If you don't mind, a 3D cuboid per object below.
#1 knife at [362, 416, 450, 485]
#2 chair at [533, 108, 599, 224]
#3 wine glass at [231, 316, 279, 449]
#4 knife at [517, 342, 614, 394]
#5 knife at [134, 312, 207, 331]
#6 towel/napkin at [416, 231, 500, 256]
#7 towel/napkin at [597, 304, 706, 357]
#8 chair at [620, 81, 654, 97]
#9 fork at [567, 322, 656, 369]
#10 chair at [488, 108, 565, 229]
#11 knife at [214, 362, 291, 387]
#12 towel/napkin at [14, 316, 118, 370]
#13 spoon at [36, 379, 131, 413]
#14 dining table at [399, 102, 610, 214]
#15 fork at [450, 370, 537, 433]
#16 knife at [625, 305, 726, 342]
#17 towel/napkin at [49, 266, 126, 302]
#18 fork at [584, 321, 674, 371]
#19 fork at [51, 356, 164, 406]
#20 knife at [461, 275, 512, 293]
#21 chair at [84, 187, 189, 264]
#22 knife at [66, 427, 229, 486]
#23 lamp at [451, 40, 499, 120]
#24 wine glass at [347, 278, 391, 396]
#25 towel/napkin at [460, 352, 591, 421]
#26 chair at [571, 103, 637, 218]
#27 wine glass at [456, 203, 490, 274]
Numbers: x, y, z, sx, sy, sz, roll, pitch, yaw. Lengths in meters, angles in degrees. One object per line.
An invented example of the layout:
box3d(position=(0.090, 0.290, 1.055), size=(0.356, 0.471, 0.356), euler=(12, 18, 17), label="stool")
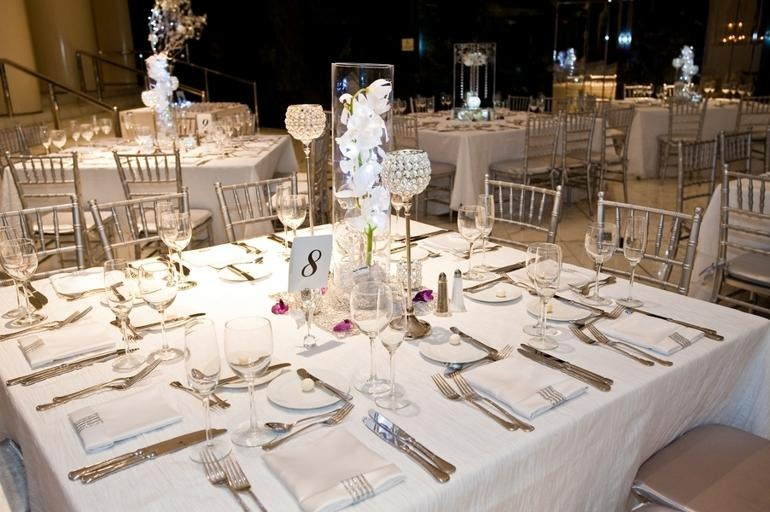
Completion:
box3d(position=(0.034, 0.509, 1.330), size=(0.078, 0.021, 0.364), euler=(-22, 31, -33), label="knife")
box3d(position=(2.170, -1.154, 6.158), size=(0.816, 1.227, 0.821), euler=(-8, 11, -3), label="chair")
box3d(position=(-0.375, 0.320, 1.386), size=(0.143, 0.326, 0.254), euler=(-8, 19, -10), label="wine glass")
box3d(position=(0.537, 0.362, 1.659), size=(0.416, 0.040, 0.088), euler=(18, 27, 42), label="knife")
box3d(position=(-0.779, 0.241, 1.793), size=(0.267, 0.015, 0.047), euler=(-6, 25, -36), label="knife")
box3d(position=(0.317, -0.061, 2.537), size=(0.190, 0.031, 0.201), euler=(-10, 21, -32), label="towel/napkin")
box3d(position=(0.950, 0.273, 1.763), size=(0.173, 0.028, 0.182), euler=(-12, 20, -31), label="towel/napkin")
box3d(position=(4.723, -3.144, 9.306), size=(0.531, 0.232, 0.276), euler=(0, 27, 1), label="chair")
box3d(position=(0.780, 0.316, 1.706), size=(0.031, 0.032, 0.211), euler=(-24, 39, -32), label="fork")
box3d(position=(1.603, -1.041, 5.825), size=(0.612, 1.126, 0.676), euler=(-10, 22, -22), label="chair")
box3d(position=(-0.420, 0.379, 1.571), size=(0.139, 0.025, 0.099), euler=(-13, 9, -32), label="knife")
box3d(position=(-1.109, 0.305, 1.738), size=(0.190, 0.046, 0.190), euler=(-14, 30, -23), label="towel/napkin")
box3d(position=(-0.899, 0.418, 1.529), size=(0.277, 0.032, 0.089), euler=(-9, 10, -32), label="spoon")
box3d(position=(1.190, -1.322, 6.075), size=(1.457, 0.897, 1.727), euler=(-13, 23, -34), label="dining table")
box3d(position=(0.304, 0.439, 1.456), size=(0.078, 0.046, 0.301), euler=(-17, 32, -30), label="fork")
box3d(position=(1.061, 0.254, 1.822), size=(0.040, 0.015, 0.300), euler=(-10, 17, -38), label="knife")
box3d(position=(-1.274, 0.156, 2.173), size=(0.258, 0.056, 0.258), euler=(-19, 32, -32), label="towel/napkin")
box3d(position=(0.834, 0.317, 1.698), size=(0.035, 0.038, 0.243), euler=(-12, 27, -28), label="fork")
box3d(position=(-0.877, 0.404, 1.571), size=(0.254, 0.039, 0.045), euler=(-15, 25, -30), label="fork")
box3d(position=(0.428, 0.125, 2.127), size=(0.185, 0.021, 0.032), euler=(-12, 47, -36), label="knife")
box3d(position=(-1.654, -0.207, 3.301), size=(0.455, 0.777, 0.472), euler=(-9, 33, -26), label="chair")
box3d(position=(-0.625, 0.533, 1.297), size=(0.274, 0.022, 0.064), euler=(-13, 21, -36), label="knife")
box3d(position=(1.393, -2.634, 7.519), size=(0.693, 1.101, 0.649), euler=(14, 26, 42), label="lamp")
box3d(position=(-0.050, 0.228, 1.533), size=(0.133, 0.353, 0.256), euler=(-8, 19, -10), label="wine glass")
box3d(position=(0.435, 0.398, 1.500), size=(0.191, 0.037, 0.200), euler=(-12, 20, -36), label="towel/napkin")
box3d(position=(2.731, -1.266, 6.447), size=(0.851, 1.111, 0.812), euler=(6, 14, -36), label="chair")
box3d(position=(0.379, -0.055, 2.205), size=(0.168, 0.317, 0.170), euler=(2, 17, 7), label="wine glass")
